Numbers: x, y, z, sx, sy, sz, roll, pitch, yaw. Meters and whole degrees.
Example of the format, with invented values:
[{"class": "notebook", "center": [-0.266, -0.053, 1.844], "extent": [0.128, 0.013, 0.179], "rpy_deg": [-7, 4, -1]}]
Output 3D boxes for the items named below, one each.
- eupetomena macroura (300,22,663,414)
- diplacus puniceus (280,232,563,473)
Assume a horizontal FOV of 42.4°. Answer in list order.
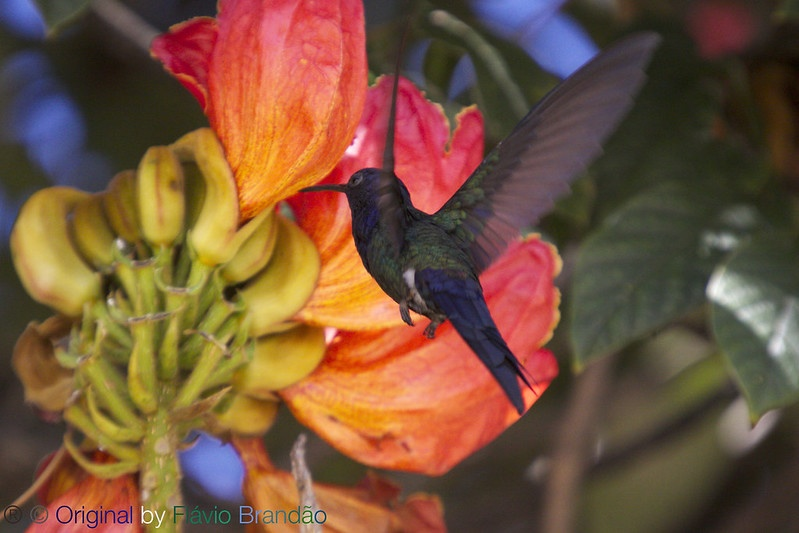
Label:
[{"class": "eupetomena macroura", "center": [0.073, -0.087, 1.034], "extent": [0.312, 0.341, 0.333], "rpy_deg": [20, 2, 23]}, {"class": "diplacus puniceus", "center": [0.052, 0.056, 1.002], "extent": [0.296, 0.313, 0.108], "rpy_deg": [-3, -22, 38]}]
